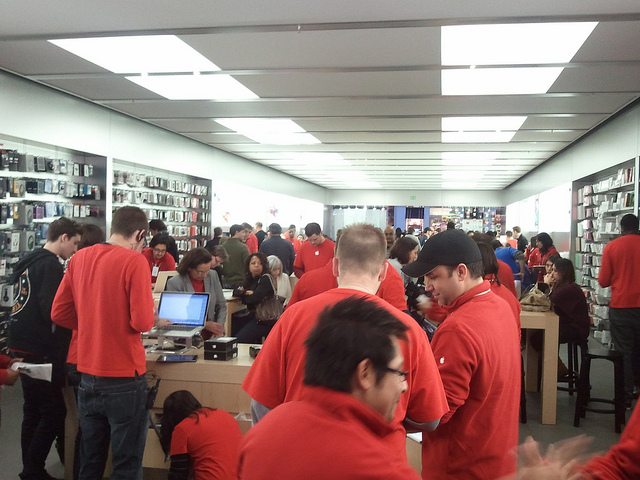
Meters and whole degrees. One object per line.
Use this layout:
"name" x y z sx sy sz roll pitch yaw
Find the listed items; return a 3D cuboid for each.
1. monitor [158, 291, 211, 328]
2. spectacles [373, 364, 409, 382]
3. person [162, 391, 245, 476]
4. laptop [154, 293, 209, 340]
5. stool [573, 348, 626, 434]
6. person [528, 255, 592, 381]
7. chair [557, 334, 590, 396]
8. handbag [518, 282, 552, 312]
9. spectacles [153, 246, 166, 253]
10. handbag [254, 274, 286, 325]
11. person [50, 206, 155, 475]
"monitor" -1.286 0.649 4.531 0.486 0.326 0.377 0 3 16
"spectacles" 0.253 0.461 1.750 0.089 0.027 0.090 11 -3 20
"person" -0.880 1.320 3.647 0.473 0.502 0.969 4 -2 -23
"laptop" -1.262 0.660 4.539 0.456 0.301 0.415 3 9 10
"stool" 2.855 1.511 5.170 0.451 0.817 0.507 3 -2 31
"person" 2.676 0.880 5.748 0.679 1.352 0.560 -2 -23 32
"chair" 2.976 1.427 6.019 0.301 0.446 0.323 3 -22 1
"handbag" 2.353 0.608 5.573 0.352 0.139 0.286 1 0 28
"spectacles" -2.068 0.122 6.571 0.164 0.061 0.076 6 -2 -45
"handbag" -0.590 0.831 6.741 0.295 0.655 0.456 -17 -43 0
"person" -1.461 0.666 3.494 0.705 1.848 0.301 3 -1 16
